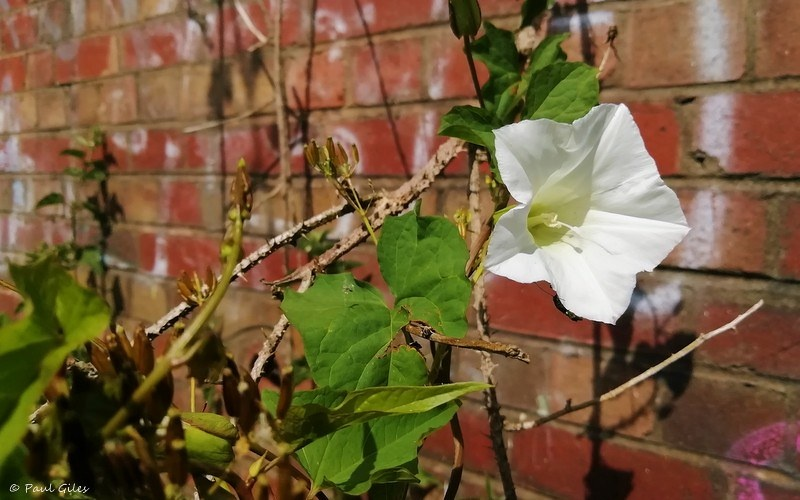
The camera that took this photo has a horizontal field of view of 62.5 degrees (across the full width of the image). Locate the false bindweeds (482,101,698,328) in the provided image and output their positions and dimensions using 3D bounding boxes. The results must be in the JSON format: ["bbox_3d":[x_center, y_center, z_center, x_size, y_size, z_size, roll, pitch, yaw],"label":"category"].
[{"bbox_3d":[0.256,-0.106,1.034,0.402,0.183,0.401,-9,31,-44],"label":"false bindweeds"}]
